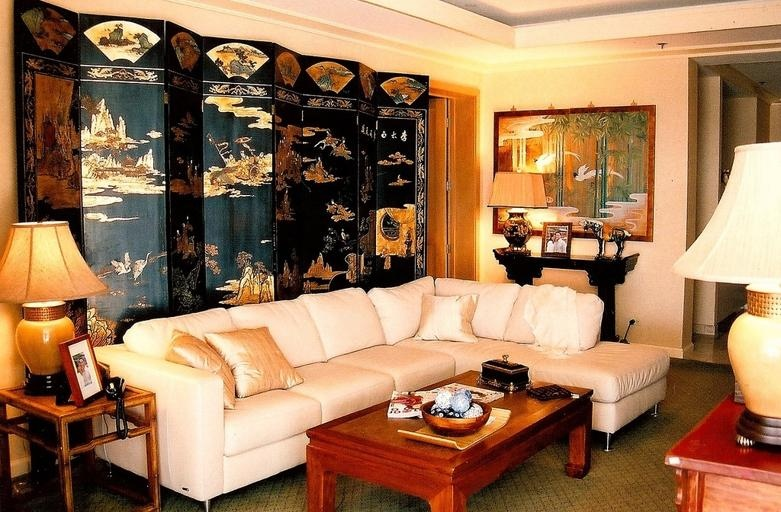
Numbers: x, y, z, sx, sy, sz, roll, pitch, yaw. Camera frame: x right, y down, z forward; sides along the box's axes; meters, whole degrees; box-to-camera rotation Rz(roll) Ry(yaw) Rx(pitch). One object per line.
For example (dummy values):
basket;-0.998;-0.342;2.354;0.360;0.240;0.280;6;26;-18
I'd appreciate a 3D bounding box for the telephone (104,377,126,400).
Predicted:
telephone;-1.749;0.834;3.562;0.138;0.126;0.104;-1;11;-4

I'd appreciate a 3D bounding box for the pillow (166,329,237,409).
pillow;-1.289;0.725;3.896;0.160;0.480;0.523;-34;-28;7

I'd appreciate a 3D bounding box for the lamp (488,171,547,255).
lamp;1.554;-0.558;7.086;0.679;0.998;0.502;-4;12;-18

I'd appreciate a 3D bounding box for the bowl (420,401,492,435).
bowl;0.376;1.009;3.439;0.315;0.093;0.302;5;-2;0

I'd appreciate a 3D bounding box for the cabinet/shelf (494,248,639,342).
cabinet/shelf;1.963;0.416;6.158;1.197;1.049;0.291;4;7;37

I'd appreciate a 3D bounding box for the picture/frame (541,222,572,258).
picture/frame;2.118;-0.206;7.198;0.459;0.548;0.062;-2;-13;34

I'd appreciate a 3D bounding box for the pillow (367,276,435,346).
pillow;0.111;0.554;5.509;0.618;0.394;0.205;-10;-29;-37

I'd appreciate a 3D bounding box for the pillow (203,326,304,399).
pillow;-1.001;0.763;4.169;0.163;0.497;0.552;-43;-19;31

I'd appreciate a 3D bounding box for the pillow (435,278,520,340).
pillow;0.985;0.482;5.523;0.630;0.596;0.192;8;-18;30
